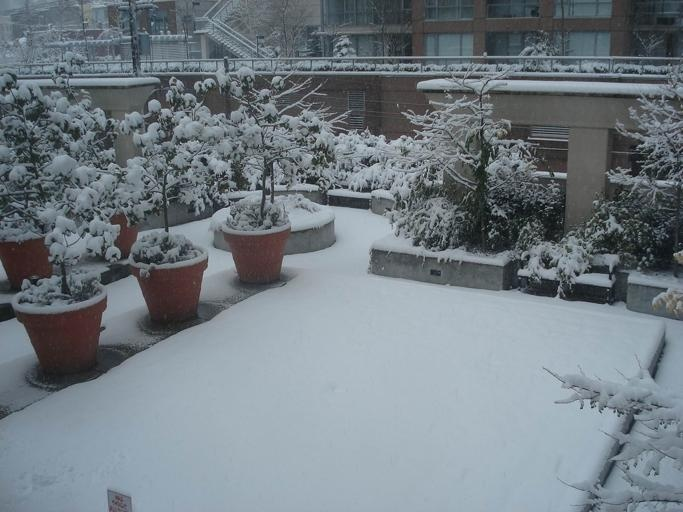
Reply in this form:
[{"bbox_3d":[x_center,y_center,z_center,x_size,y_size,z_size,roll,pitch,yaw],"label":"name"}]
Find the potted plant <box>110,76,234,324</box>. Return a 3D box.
[{"bbox_3d":[-2.368,-0.744,8.222,1.561,3.067,1.193,-5,16,-28],"label":"potted plant"}]
